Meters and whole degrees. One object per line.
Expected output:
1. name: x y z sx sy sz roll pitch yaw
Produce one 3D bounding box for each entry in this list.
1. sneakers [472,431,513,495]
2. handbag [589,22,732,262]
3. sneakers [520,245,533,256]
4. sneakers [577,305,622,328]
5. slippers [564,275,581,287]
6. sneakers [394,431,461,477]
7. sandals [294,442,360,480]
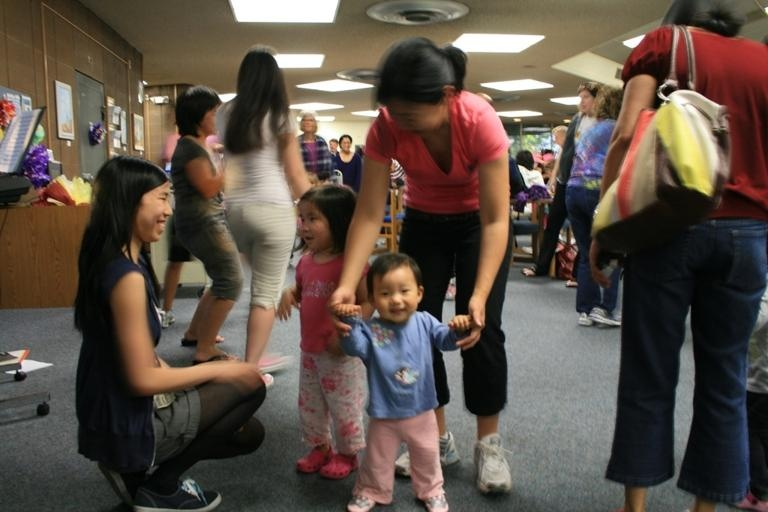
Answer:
1. sneakers: 0.430 0.824 2.070 0.100 0.122 0.258 0 2 -3
2. handbag: 0.900 -0.353 1.654 0.354 0.779 0.387 11 16 43
3. sneakers: 2.229 -0.095 8.179 0.137 0.174 0.429 9 12 34
4. sneakers: 1.648 0.479 4.064 0.323 0.155 0.131 2 -3 -8
5. slippers: 1.977 0.301 5.472 0.144 0.185 0.432 -2 -10 22
6. sneakers: 0.186 0.839 2.202 0.117 0.149 0.340 -16 -23 42
7. sandals: -0.237 0.853 2.198 0.130 0.068 0.174 -2 -13 31
